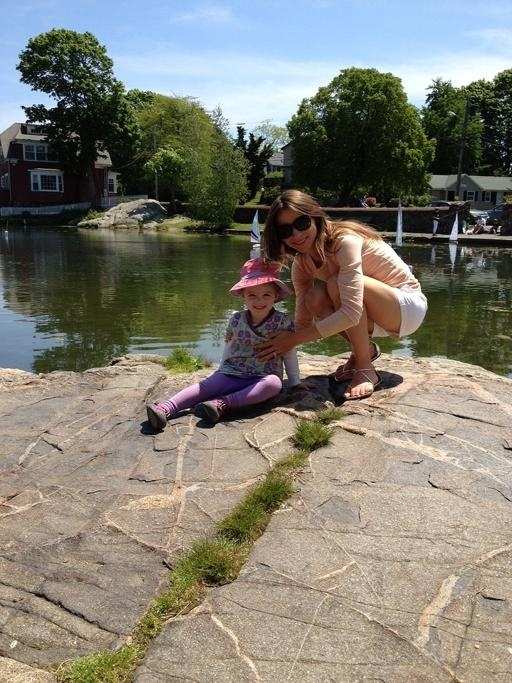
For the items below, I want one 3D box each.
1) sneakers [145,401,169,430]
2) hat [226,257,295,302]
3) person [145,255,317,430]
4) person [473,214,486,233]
[{"bbox_3d":[-0.507,0.375,3.093,0.102,0.136,0.183,-1,13,-8],"label":"sneakers"},{"bbox_3d":[0.019,-0.355,3.383,0.272,0.149,0.270,-3,-19,2],"label":"hat"},{"bbox_3d":[-0.171,-0.013,3.205,0.603,0.792,1.013,6,12,28],"label":"person"},{"bbox_3d":[11.725,-6.038,31.942,0.563,0.737,2.043,6,13,18],"label":"person"}]
